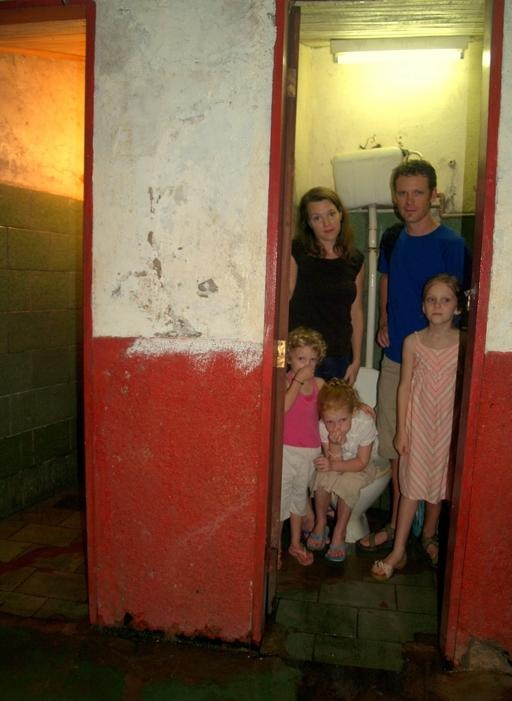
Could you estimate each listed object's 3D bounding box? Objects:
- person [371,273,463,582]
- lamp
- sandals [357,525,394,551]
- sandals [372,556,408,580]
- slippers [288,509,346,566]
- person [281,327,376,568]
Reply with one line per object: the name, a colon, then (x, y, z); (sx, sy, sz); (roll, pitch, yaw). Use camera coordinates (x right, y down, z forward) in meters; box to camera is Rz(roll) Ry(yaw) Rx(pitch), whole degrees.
person: (0.677, 0.319, 2.562); (0.319, 1.226, 0.384); (7, 12, 35)
lamp: (0.722, -1.533, 3.327); (0.685, 0.117, 0.317); (2, 10, 9)
sandals: (0.543, 0.840, 2.906); (0.194, 0.051, 0.068); (-7, 15, -29)
sandals: (0.549, 0.894, 2.664); (0.128, 0.039, 0.073); (-32, 27, -4)
slippers: (0.255, 0.819, 2.760); (0.122, 0.143, 0.360); (0, -16, -11)
person: (0.286, 0.406, 2.771); (0.581, 0.990, 0.260); (-7, 12, -38)
